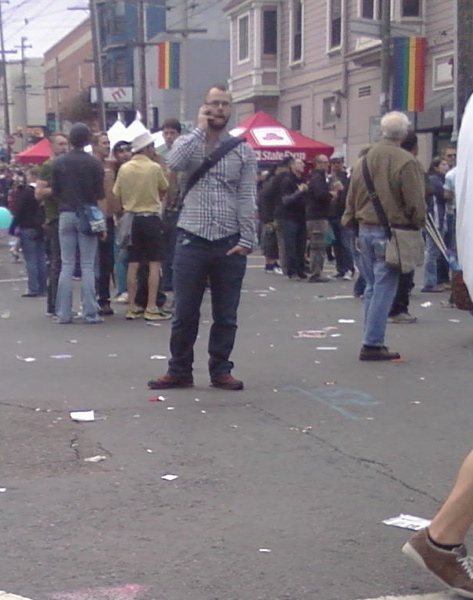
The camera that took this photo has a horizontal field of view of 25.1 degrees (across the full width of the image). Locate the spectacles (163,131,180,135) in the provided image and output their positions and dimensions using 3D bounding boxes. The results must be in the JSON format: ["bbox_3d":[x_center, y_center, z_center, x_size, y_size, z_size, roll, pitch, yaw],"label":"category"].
[{"bbox_3d":[-0.685,-1.685,10.685,0.148,0.036,0.065,7,10,39],"label":"spectacles"}]

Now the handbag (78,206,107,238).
[{"bbox_3d":[-1.403,-0.758,10.282,0.190,0.302,0.295,-16,-3,33],"label":"handbag"}]

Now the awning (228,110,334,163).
[{"bbox_3d":[0.785,-3.087,20.302,1.551,0.871,1.876,-3,8,-24],"label":"awning"}]

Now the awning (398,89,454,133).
[{"bbox_3d":[4.391,-4.247,23.692,0.795,0.953,2.417,0,8,-3],"label":"awning"}]
